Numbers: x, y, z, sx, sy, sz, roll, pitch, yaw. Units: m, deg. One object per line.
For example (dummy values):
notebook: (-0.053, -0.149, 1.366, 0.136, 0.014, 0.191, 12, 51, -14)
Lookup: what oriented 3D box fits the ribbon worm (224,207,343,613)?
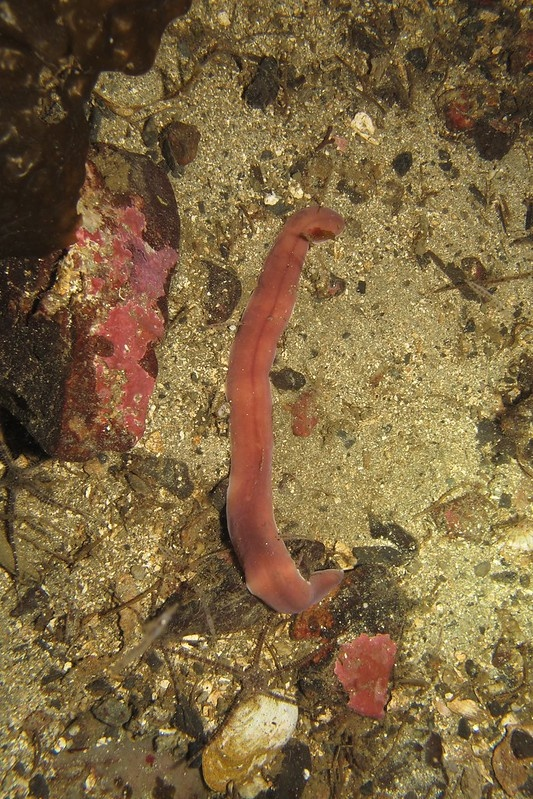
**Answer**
ribbon worm: (0.086, 0.069, 5.837, 0.763, 2.775, 0.923, 6, 18, -4)
